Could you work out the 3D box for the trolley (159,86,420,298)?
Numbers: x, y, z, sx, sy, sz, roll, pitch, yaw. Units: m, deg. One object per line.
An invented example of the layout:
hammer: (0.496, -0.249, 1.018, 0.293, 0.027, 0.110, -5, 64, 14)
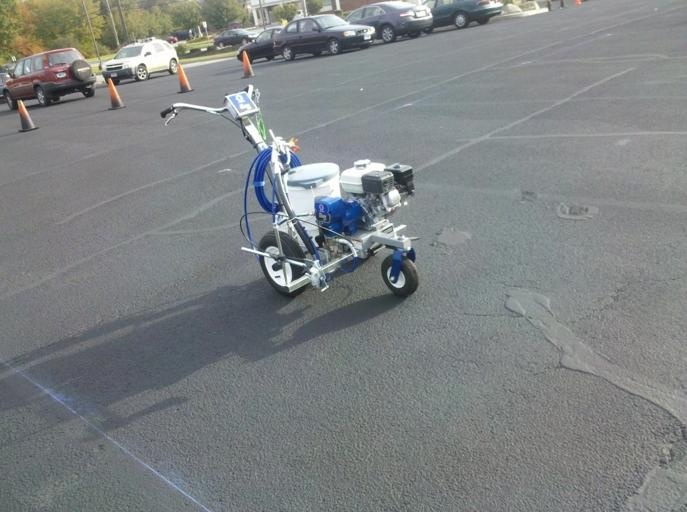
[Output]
trolley: (-0.412, -0.612, 4.958, 2.540, 1.685, 1.874, 9, 26, 20)
